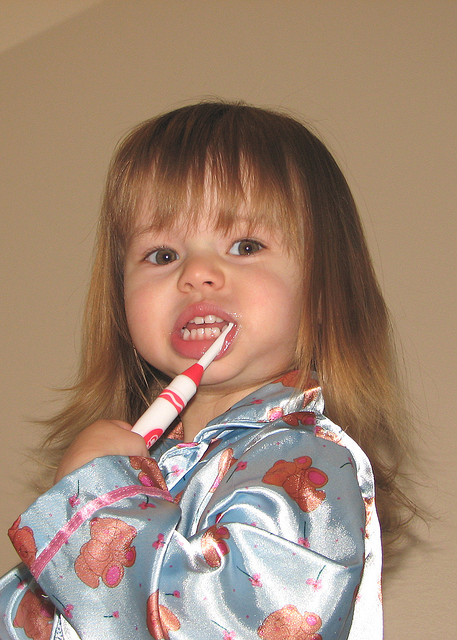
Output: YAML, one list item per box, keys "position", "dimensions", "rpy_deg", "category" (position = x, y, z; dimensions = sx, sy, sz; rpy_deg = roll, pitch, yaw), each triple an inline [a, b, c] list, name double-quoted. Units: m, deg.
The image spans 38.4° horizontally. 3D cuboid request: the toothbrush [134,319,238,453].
- position: [-0.040, 0.069, 0.678]
  dimensions: [0.201, 0.029, 0.028]
  rpy_deg: [-45, -1, -6]
  category: "toothbrush"
